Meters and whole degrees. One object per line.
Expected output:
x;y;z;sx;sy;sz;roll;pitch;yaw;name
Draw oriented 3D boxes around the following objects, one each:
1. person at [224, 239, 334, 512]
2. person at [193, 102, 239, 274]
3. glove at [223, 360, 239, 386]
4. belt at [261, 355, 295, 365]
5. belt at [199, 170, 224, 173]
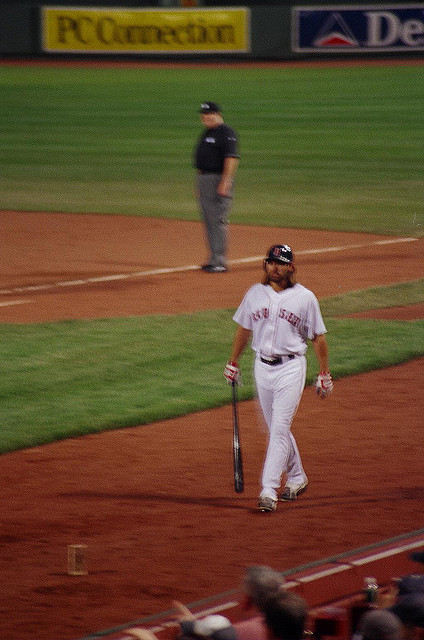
0.393;0.317;6.225;0.577;1.493;0.547;-4;8;-8;person
0.060;-1.484;11.824;0.459;1.664;1.066;-4;7;-3;person
0.122;0.300;6.376;0.086;0.115;0.070;-11;-10;36;glove
0.372;0.219;6.114;0.183;0.051;0.048;-2;7;6;belt
-0.006;-1.585;11.557;0.284;0.038;0.076;3;8;42;belt
